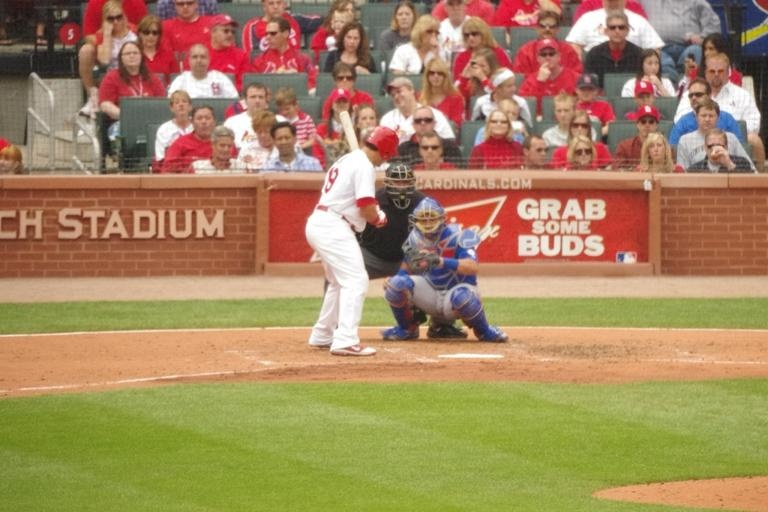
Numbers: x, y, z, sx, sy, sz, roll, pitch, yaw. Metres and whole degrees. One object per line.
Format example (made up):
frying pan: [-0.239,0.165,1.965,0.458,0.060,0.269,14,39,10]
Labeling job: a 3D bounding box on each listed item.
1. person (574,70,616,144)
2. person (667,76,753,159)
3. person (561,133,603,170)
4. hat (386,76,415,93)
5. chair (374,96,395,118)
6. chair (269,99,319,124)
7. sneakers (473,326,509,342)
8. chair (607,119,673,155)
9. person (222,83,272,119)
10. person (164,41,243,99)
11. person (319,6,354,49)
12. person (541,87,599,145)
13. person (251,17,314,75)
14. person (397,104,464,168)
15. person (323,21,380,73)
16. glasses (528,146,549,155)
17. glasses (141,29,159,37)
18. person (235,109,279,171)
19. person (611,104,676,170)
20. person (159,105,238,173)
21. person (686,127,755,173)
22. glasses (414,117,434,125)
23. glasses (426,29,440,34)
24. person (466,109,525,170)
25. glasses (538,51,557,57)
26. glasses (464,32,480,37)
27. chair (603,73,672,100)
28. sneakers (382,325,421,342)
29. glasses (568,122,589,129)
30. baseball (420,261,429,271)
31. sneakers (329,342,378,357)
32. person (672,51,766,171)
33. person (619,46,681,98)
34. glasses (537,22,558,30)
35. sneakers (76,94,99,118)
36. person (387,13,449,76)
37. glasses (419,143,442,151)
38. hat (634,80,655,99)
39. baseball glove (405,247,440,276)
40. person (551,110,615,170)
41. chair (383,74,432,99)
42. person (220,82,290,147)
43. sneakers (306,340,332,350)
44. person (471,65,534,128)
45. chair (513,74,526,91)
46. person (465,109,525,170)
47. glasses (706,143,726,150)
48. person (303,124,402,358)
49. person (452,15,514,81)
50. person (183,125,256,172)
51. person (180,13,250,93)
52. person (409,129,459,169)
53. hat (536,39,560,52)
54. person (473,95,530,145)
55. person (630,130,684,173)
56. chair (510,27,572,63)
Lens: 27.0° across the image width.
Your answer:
person: [3.459,-2.388,27.004,1.011,1.222,0.763,-2,14,3]
person: [5.214,-2.252,26.568,0.996,1.193,0.700,7,-18,37]
person: [3.244,-1.664,26.367,0.756,0.739,0.511,-3,-1,-4]
hat: [0.313,-2.905,26.729,0.421,0.196,0.278,21,-16,-28]
chair: [0.034,-2.512,27.131,0.367,0.378,0.308,0,15,1]
chair: [-1.410,-2.356,27.171,0.855,0.504,0.424,-1,-3,-3]
sneakers: [1.473,1.078,21.908,0.577,0.233,0.186,3,35,-4]
chair: [4.301,-2.032,26.580,0.745,0.830,0.714,0,-2,1]
person: [-2.220,-2.700,26.633,0.559,0.405,0.890,-3,15,-18]
person: [-3.186,-3.151,27.577,1.314,0.857,0.641,0,4,-13]
person: [-0.849,-4.172,28.696,0.540,0.755,0.394,24,8,26]
person: [3.109,-2.205,26.623,1.044,0.848,0.526,0,0,26]
person: [-1.826,-3.587,28.319,1.406,1.035,0.757,1,5,16]
person: [0.734,-1.930,26.208,0.991,0.386,1.143,-1,47,-2]
person: [-0.536,-3.621,28.056,1.055,0.855,0.547,4,6,5]
glasses: [2.627,-1.740,26.325,0.190,0.147,0.486,3,3,28]
glasses: [-4.083,-3.901,27.932,0.324,0.099,0.122,0,3,-26]
person: [-2.071,-1.878,26.274,1.171,0.965,0.562,-2,1,-15]
person: [4.296,-1.664,26.380,1.156,1.676,0.548,4,-6,7]
person: [-3.058,-1.878,26.305,1.260,1.129,0.367,3,13,-18]
person: [5.630,-1.630,26.288,1.177,0.591,0.697,-1,0,6]
glasses: [0.654,-2.186,25.861,0.318,0.122,0.134,2,3,0]
glasses: [0.884,-3.946,28.022,0.102,0.079,0.349,3,3,25]
person: [1.881,-1.910,26.323,1.075,0.919,0.531,-1,2,0]
glasses: [2.842,-3.482,27.529,0.293,0.093,0.078,3,3,31]
glasses: [1.531,-3.867,27.893,0.294,0.089,0.070,3,3,29]
chair: [4.270,-2.990,27.801,0.743,0.432,0.647,1,0,4]
sneakers: [0.230,1.075,22.124,0.455,0.165,0.218,3,2,-3]
glasses: [3.235,-2.148,26.144,0.333,0.101,0.210,2,3,5]
baseball: [0.548,0.124,21.398,0.112,0.117,0.118,2,3,2]
sneakers: [-0.394,1.215,21.109,0.587,0.179,0.209,-2,3,-2]
person: [5.303,-2.472,26.987,1.002,1.480,1.223,-6,-25,5]
person: [4.615,-3.172,27.835,1.181,0.968,0.621,-1,18,-7]
glasses: [2.897,-4.053,28.131,0.321,0.145,0.197,2,3,8]
sneakers: [-5.153,-2.587,28.084,0.305,0.458,0.236,29,-2,14]
person: [0.682,-3.632,28.204,0.780,1.044,0.947,-9,-7,16]
glasses: [0.767,-1.782,26.052,0.343,0.092,0.165,2,3,3]
hat: [4.419,-2.831,27.016,0.382,0.297,0.296,3,3,34]
baseball glove: [0.517,0.081,21.400,0.318,0.167,0.407,1,9,-44]
person: [3.276,-1.891,26.324,1.112,0.859,0.536,1,3,14]
chair: [0.383,-2.856,27.688,0.816,0.473,0.397,-1,-2,1]
person: [-2.111,-2.289,26.370,1.241,0.930,0.595,-3,17,-16]
sneakers: [-0.872,1.211,21.503,0.337,0.113,0.104,1,0,1]
person: [1.976,-2.649,26.983,1.324,1.084,0.661,-2,8,-8]
chair: [2.392,-3.046,27.974,0.251,0.272,0.239,3,20,3]
person: [1.867,-1.887,26.112,0.888,0.943,0.410,2,3,3]
glasses: [5.497,-1.796,26.211,0.310,0.100,0.114,1,3,-3]
person: [-0.471,-0.190,21.058,1.054,3.023,0.495,3,3,18]
person: [1.766,-3.676,28.241,1.208,1.190,0.676,12,29,21]
person: [-2.676,-1.736,26.290,0.642,0.754,0.732,4,4,41]
person: [-2.793,-3.320,28.317,0.944,1.495,0.891,-7,1,39]
person: [0.784,-1.695,26.238,0.801,0.627,0.532,-2,6,-14]
hat: [2.853,-3.660,27.651,0.314,0.216,0.368,2,3,5]
person: [2.109,-2.291,26.484,0.776,0.337,0.887,1,26,3]
person: [4.467,-1.634,26.435,1.108,0.798,0.592,-2,-6,4]
chair: [2.868,-3.828,28.638,0.827,0.964,0.808,0,-3,0]
